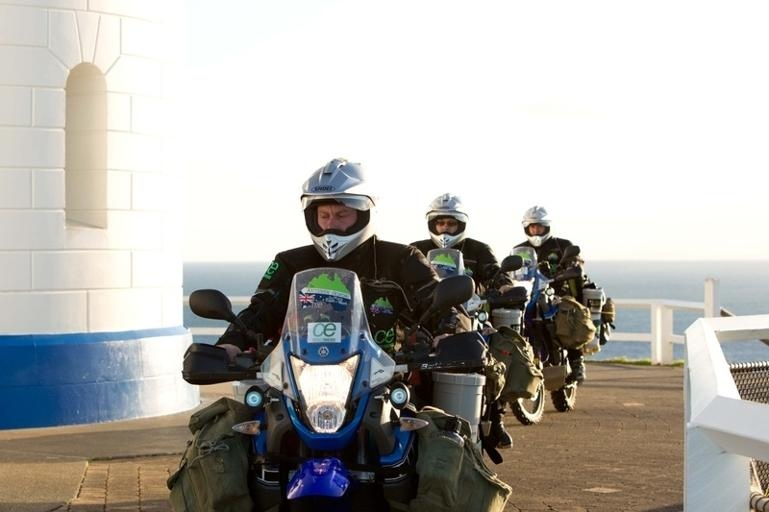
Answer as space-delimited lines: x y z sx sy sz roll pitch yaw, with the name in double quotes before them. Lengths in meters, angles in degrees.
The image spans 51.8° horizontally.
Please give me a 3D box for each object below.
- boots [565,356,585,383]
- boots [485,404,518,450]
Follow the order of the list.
"boots" 3.480 2.099 14.520 0.323 0.578 0.238 -3 -14 22
"boots" 1.635 2.321 11.137 0.245 0.590 0.588 -4 19 -20
